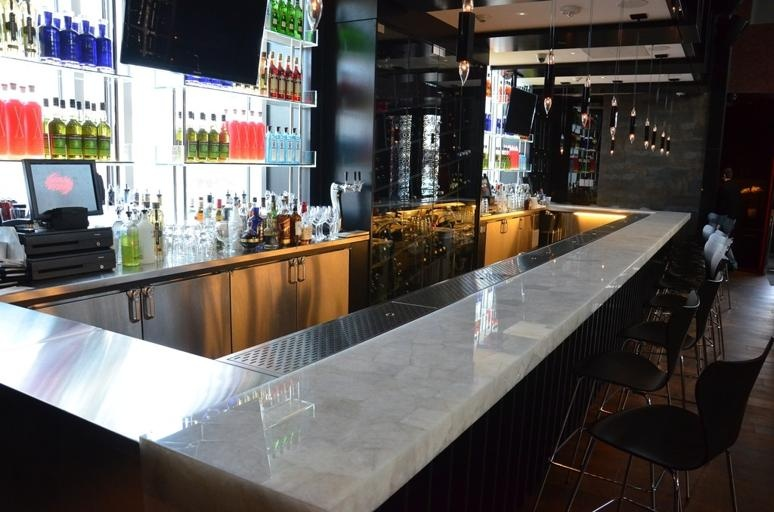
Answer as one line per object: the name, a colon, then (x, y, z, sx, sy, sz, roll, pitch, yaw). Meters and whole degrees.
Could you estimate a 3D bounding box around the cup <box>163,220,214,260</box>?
cup: (-1.569, -0.132, 4.091, 0.318, 0.246, 0.316, 0, 2, 0)

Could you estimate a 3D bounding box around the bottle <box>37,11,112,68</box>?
bottle: (-2.255, -1.548, 3.716, 0.492, 0.373, 0.314, -11, 15, -38)

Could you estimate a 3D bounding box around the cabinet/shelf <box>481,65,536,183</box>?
cabinet/shelf: (2.179, -2.443, 9.354, 0.694, 2.286, 2.222, 3, 5, 24)

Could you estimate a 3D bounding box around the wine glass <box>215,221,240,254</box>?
wine glass: (-1.411, -0.202, 4.499, 0.184, 0.321, 0.197, 20, 24, 27)

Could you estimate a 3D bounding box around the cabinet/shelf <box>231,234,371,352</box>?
cabinet/shelf: (-0.763, 0.468, 5.029, 1.549, 0.995, 0.520, -8, -14, 11)

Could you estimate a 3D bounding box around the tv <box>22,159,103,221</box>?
tv: (-2.231, -0.456, 3.511, 0.140, 0.390, 0.440, -22, -10, 27)
